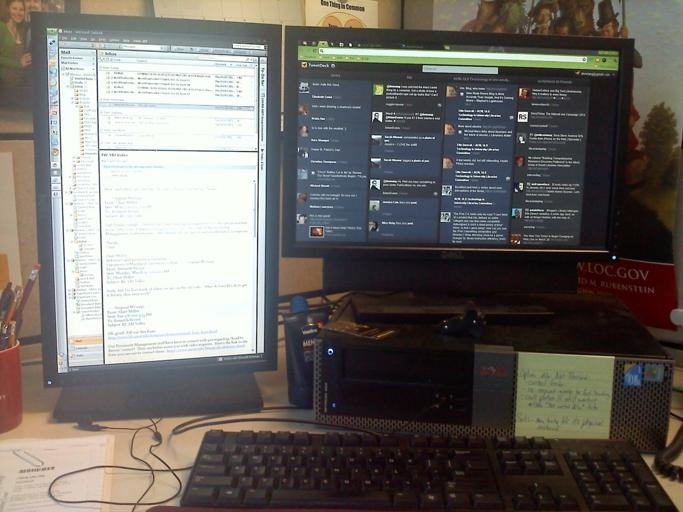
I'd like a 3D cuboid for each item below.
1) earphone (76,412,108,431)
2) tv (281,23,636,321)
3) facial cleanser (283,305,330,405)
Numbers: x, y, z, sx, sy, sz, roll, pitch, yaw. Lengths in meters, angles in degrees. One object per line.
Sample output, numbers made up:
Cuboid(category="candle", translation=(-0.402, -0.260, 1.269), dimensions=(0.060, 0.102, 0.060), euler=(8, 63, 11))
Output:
Cuboid(category="earphone", translation=(-0.438, 0.290, 1.104), dimensions=(0.056, 0.016, 0.023), euler=(23, 22, 5))
Cuboid(category="tv", translation=(0.217, -0.204, 1.179), dimensions=(0.663, 0.440, 0.020), euler=(-2, 9, -1))
Cuboid(category="facial cleanser", translation=(-0.065, 0.193, 1.198), dimensions=(0.103, 0.174, 0.060), euler=(-1, -6, -34))
